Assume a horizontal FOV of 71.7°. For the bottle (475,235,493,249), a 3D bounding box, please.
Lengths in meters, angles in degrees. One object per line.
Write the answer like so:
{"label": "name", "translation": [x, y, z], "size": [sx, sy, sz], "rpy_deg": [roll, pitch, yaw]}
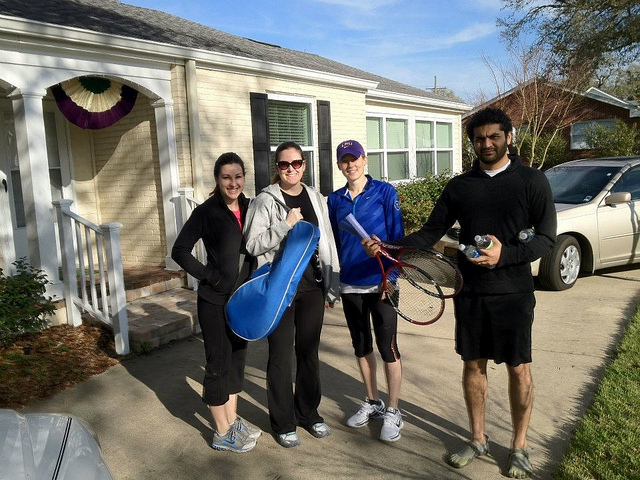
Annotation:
{"label": "bottle", "translation": [1.105, 0.014, 2.993], "size": [0.053, 0.063, 0.141], "rpy_deg": [-8, -22, 37]}

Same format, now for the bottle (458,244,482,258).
{"label": "bottle", "translation": [1.026, 0.072, 3.032], "size": [0.147, 0.083, 0.090], "rpy_deg": [1, 11, 16]}

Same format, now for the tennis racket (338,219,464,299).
{"label": "tennis racket", "translation": [0.565, 0.083, 3.325], "size": [1.023, 0.418, 0.134], "rpy_deg": [37, 35, 22]}

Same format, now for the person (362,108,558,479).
{"label": "person", "translation": [1.195, 0.368, 3.371], "size": [0.964, 2.658, 0.786], "rpy_deg": [8, 14, 43]}

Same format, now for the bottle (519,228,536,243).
{"label": "bottle", "translation": [1.436, -0.033, 3.066], "size": [0.142, 0.083, 0.062], "rpy_deg": [-9, 13, -34]}

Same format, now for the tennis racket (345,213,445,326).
{"label": "tennis racket", "translation": [0.514, 0.164, 3.566], "size": [0.465, 1.191, 0.095], "rpy_deg": [-41, -4, 40]}
